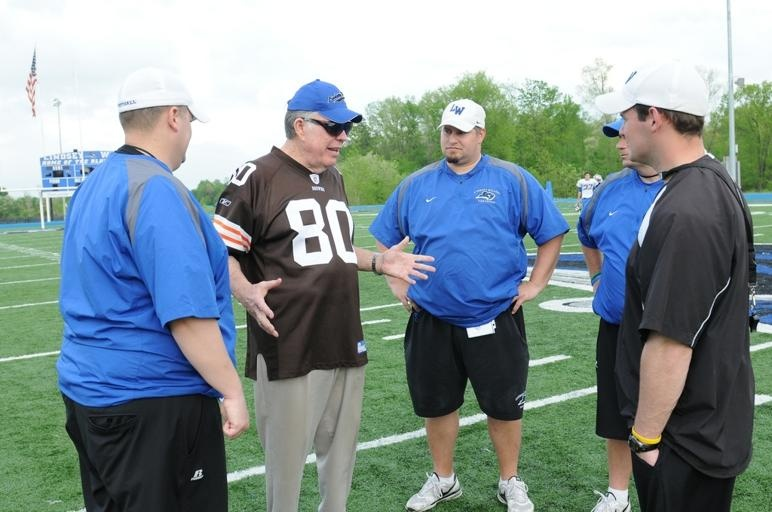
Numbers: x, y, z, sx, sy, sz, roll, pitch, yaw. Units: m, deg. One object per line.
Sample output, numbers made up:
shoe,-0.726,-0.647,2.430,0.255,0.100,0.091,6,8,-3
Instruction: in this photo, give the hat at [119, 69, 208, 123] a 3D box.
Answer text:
hat,-1.188,-0.820,3.358,0.372,0.283,0.532,-6,7,-11

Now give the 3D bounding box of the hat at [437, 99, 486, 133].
hat,0.515,-0.977,4.507,0.292,0.214,0.410,15,23,38

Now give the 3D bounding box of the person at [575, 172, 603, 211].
person,8.524,-2.595,27.848,0.854,2.063,0.580,1,25,20

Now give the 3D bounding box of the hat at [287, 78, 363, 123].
hat,-0.346,-0.924,3.890,0.482,0.239,0.312,11,11,23

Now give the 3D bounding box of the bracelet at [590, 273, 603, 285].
bracelet,1.486,0.160,4.686,0.088,0.085,0.089,-15,-24,15
